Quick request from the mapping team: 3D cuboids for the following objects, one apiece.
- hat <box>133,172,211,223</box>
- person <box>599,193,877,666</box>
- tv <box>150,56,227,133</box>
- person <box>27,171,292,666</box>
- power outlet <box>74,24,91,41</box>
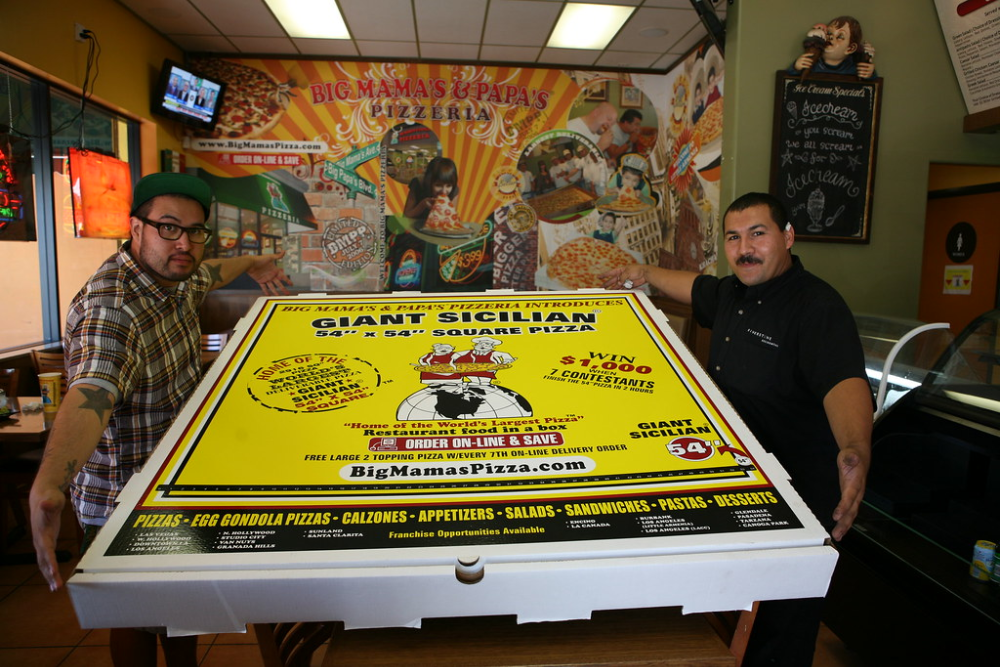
[{"bbox_3d":[-1.260,-0.527,2.370,0.196,0.085,0.250,-17,8,-19],"label":"hat"},{"bbox_3d":[1.035,0.115,2.495,0.515,1.344,1.135,-5,7,-23],"label":"person"},{"bbox_3d":[-2.803,-2.169,5.790,0.633,0.447,0.059,22,14,8],"label":"tv"},{"bbox_3d":[-1.341,0.062,2.300,0.418,1.296,1.151,-1,7,12],"label":"person"},{"bbox_3d":[-3.118,-2.249,4.736,0.032,0.102,0.121,11,9,17],"label":"power outlet"}]
